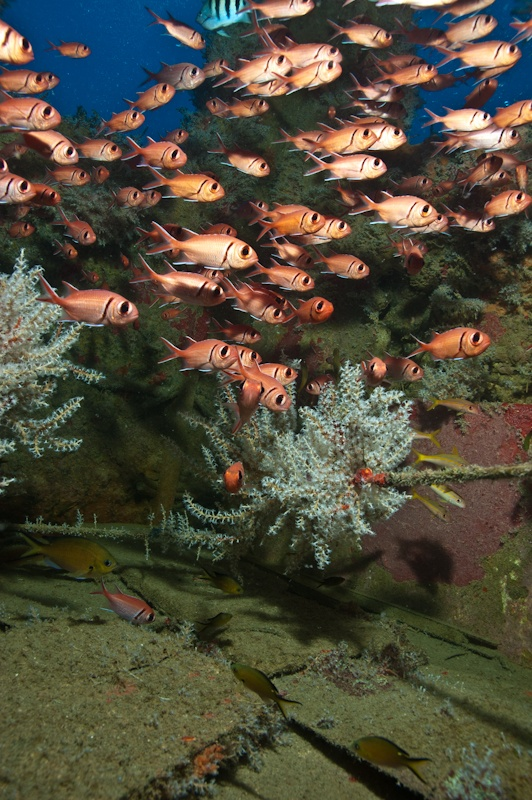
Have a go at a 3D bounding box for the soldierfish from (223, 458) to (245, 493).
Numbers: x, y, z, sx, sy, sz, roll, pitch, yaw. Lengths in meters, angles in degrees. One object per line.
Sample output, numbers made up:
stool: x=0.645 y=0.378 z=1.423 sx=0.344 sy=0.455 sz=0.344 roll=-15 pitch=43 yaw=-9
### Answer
soldierfish: x=-0.204 y=0.502 z=4.381 sx=0.096 sy=0.156 sz=0.215 roll=4 pitch=-1 yaw=3

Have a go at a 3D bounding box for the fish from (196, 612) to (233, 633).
fish: x=-0.315 y=1.269 z=3.866 sx=0.154 sy=0.106 sz=0.199 roll=4 pitch=-2 yaw=-32

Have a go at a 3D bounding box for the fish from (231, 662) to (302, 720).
fish: x=-0.009 y=1.495 z=3.448 sx=0.443 sy=0.167 sz=0.102 roll=29 pitch=16 yaw=23

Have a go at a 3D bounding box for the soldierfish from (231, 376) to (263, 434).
soldierfish: x=-0.140 y=0.024 z=4.196 sx=0.193 sy=0.316 sz=0.164 roll=20 pitch=15 yaw=25

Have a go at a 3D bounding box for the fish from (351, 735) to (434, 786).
fish: x=0.574 y=1.648 z=3.138 sx=0.353 sy=0.129 sz=0.142 roll=3 pitch=-2 yaw=12

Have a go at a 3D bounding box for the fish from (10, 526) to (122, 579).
fish: x=-1.098 y=0.866 z=3.728 sx=0.554 sy=0.231 sz=0.190 roll=3 pitch=-2 yaw=7

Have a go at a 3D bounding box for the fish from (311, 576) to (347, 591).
fish: x=0.448 y=1.300 z=4.831 sx=0.183 sy=0.067 sz=0.190 roll=3 pitch=-1 yaw=4

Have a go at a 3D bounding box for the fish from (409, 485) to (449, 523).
fish: x=1.169 y=0.770 z=4.877 sx=0.246 sy=0.226 sz=0.511 roll=3 pitch=-1 yaw=13

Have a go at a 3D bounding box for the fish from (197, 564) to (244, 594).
fish: x=-0.304 y=1.191 z=4.461 sx=0.308 sy=0.136 sz=0.465 roll=3 pitch=-1 yaw=-5
